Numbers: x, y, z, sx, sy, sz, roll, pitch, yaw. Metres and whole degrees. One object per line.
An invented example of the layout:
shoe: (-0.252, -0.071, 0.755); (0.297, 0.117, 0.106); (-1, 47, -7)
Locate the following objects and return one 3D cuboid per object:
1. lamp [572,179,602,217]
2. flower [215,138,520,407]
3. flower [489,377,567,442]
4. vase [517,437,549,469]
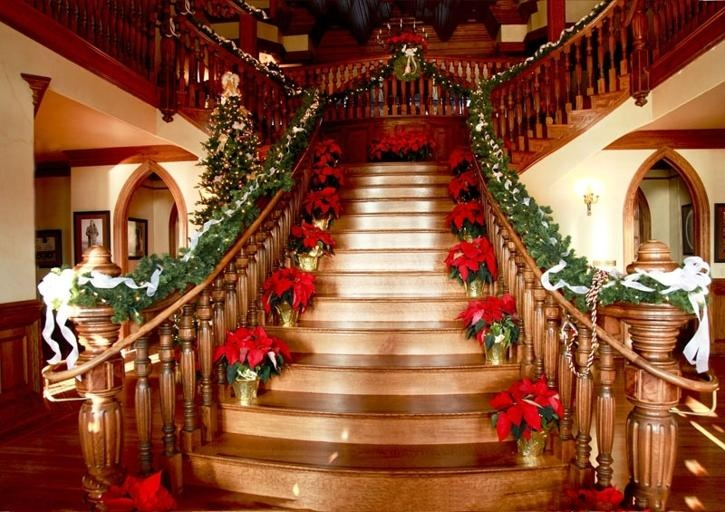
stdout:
lamp: (3.119, -0.828, 8.064); (0.322, 0.523, 0.187); (1, -2, 17)
flower: (0.026, 0.204, 5.246); (1.523, 0.815, 2.125); (0, 36, 5)
flower: (1.175, 1.108, 4.150); (0.490, 0.427, 0.238); (1, -2, 18)
vase: (1.207, 1.399, 4.158); (0.199, 0.228, 0.201); (0, -7, -2)
